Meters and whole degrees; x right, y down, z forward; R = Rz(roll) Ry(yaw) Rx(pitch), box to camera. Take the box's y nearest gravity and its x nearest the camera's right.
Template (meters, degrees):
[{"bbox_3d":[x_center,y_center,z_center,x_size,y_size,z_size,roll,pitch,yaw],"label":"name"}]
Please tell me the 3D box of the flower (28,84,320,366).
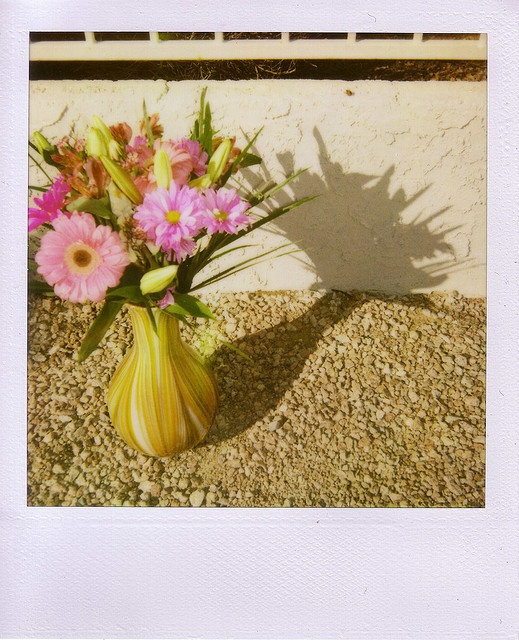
[{"bbox_3d":[-0.176,-0.148,1.036,0.533,0.281,0.461,-1,56,-11],"label":"flower"}]
